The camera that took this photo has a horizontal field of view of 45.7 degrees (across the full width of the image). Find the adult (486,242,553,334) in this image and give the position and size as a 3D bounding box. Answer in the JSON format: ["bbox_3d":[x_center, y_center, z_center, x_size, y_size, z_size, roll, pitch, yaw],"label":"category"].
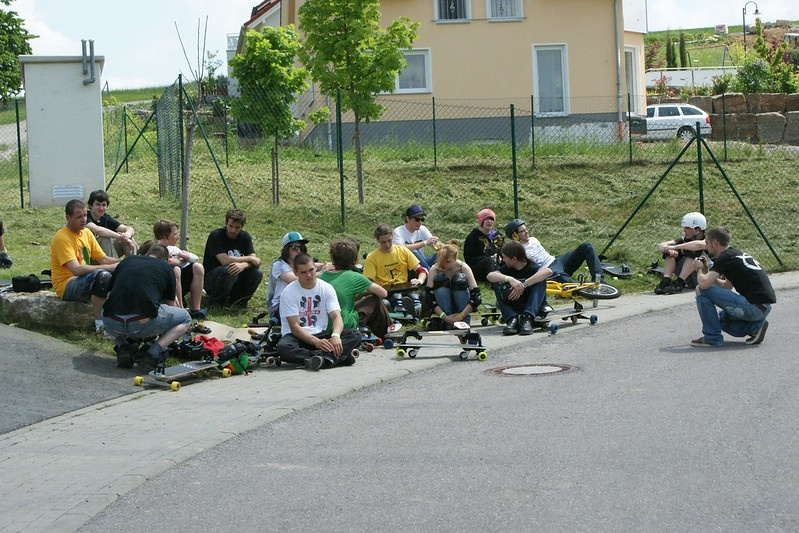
[{"bbox_3d":[1.853,0.323,14.628,0.935,1.385,0.720,-1,7,14],"label":"adult"}]

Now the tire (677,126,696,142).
[{"bbox_3d":[9.751,-4.547,32.259,0.482,0.436,0.798,-1,6,7],"label":"tire"}]

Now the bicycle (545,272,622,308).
[{"bbox_3d":[2.984,0.407,15.712,1.188,0.594,0.721,5,-5,-25],"label":"bicycle"}]

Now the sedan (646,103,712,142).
[{"bbox_3d":[9.540,-4.985,32.672,1.935,1.212,0.964,-1,7,13],"label":"sedan"}]

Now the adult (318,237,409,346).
[{"bbox_3d":[-0.628,0.328,14.020,1.215,1.604,0.960,-7,21,-16],"label":"adult"}]

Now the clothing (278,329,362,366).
[{"bbox_3d":[-1.062,1.140,12.894,1.145,0.474,0.342,-3,6,-9],"label":"clothing"}]

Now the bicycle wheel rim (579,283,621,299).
[{"bbox_3d":[3.333,0.430,15.749,0.394,0.185,0.398,-1,3,-2],"label":"bicycle wheel rim"}]

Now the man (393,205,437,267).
[{"bbox_3d":[0.293,-0.557,16.341,0.731,1.102,1.061,-8,14,-35],"label":"man"}]

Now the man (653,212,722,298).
[{"bbox_3d":[5.068,-0.193,16.830,1.464,1.549,0.920,-2,7,-33],"label":"man"}]

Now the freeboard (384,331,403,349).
[{"bbox_3d":[-0.086,1.082,13.897,0.323,0.188,0.162,-18,-6,19],"label":"freeboard"}]

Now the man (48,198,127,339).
[{"bbox_3d":[-4.305,0.008,13.785,1.443,1.819,1.270,0,10,-19],"label":"man"}]

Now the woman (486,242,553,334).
[{"bbox_3d":[1.874,0.315,14.819,0.898,1.399,1.011,-1,1,11],"label":"woman"}]

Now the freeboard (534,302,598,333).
[{"bbox_3d":[2.587,0.843,15.020,0.770,0.429,0.526,-12,12,-37],"label":"freeboard"}]

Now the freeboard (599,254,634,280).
[{"bbox_3d":[4.098,-0.009,17.956,0.386,0.383,1.044,-2,17,-14],"label":"freeboard"}]

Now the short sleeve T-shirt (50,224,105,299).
[{"bbox_3d":[-4.736,-0.088,13.848,0.535,1.013,1.003,6,8,13],"label":"short sleeve T-shirt"}]

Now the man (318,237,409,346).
[{"bbox_3d":[-0.657,0.311,14.018,1.268,1.643,0.980,-11,24,-26],"label":"man"}]

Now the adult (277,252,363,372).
[{"bbox_3d":[-1.102,0.609,12.850,1.097,1.520,1.436,-5,12,-27],"label":"adult"}]

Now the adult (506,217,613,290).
[{"bbox_3d":[2.632,-0.232,16.128,1.738,1.146,0.995,3,20,46],"label":"adult"}]

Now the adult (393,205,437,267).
[{"bbox_3d":[0.455,-0.529,16.269,0.731,1.102,1.061,-8,14,-35],"label":"adult"}]

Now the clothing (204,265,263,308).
[{"bbox_3d":[-2.619,0.352,15.061,0.663,0.568,0.773,-1,10,-43],"label":"clothing"}]

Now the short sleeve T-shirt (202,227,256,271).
[{"bbox_3d":[-2.677,-0.189,15.223,0.898,0.895,0.778,3,4,32],"label":"short sleeve T-shirt"}]

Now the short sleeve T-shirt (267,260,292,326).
[{"bbox_3d":[-1.686,0.397,14.200,0.533,0.914,0.721,3,-9,2],"label":"short sleeve T-shirt"}]

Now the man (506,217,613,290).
[{"bbox_3d":[2.657,-0.251,16.075,0.939,1.105,1.770,-27,21,-35],"label":"man"}]

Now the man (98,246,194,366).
[{"bbox_3d":[-3.470,0.516,12.933,1.234,1.795,1.017,4,-15,-4],"label":"man"}]

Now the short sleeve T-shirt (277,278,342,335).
[{"bbox_3d":[-1.306,0.524,13.239,1.076,0.914,0.657,-1,0,-18],"label":"short sleeve T-shirt"}]

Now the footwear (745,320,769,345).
[{"bbox_3d":[4.959,0.904,13.016,0.402,0.312,0.237,-6,7,-32],"label":"footwear"}]

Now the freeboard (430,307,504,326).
[{"bbox_3d":[1.194,0.812,15.290,1.508,0.268,0.394,-1,1,-36],"label":"freeboard"}]

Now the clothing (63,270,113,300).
[{"bbox_3d":[-4.441,0.281,13.540,0.503,0.243,0.560,-3,7,-10],"label":"clothing"}]

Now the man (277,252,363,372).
[{"bbox_3d":[-1.119,0.611,12.830,1.114,1.525,1.439,-4,11,-21],"label":"man"}]

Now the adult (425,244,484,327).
[{"bbox_3d":[0.823,0.325,14.626,0.768,1.344,0.913,-3,7,1],"label":"adult"}]

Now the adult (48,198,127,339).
[{"bbox_3d":[-4.304,-0.008,13.952,1.374,1.795,1.343,9,11,34],"label":"adult"}]

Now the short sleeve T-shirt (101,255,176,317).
[{"bbox_3d":[-3.457,0.305,12.774,0.850,0.891,0.517,8,-18,-4],"label":"short sleeve T-shirt"}]

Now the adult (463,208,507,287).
[{"bbox_3d":[1.603,-0.262,16.529,0.767,1.496,1.031,1,-1,-21],"label":"adult"}]

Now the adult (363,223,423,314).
[{"bbox_3d":[0.028,0.065,14.744,0.987,1.322,1.313,-11,15,-24],"label":"adult"}]

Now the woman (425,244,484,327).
[{"bbox_3d":[0.951,0.330,14.794,0.984,1.724,1.156,-1,0,5],"label":"woman"}]

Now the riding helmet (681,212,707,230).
[{"bbox_3d":[5.256,-0.808,16.956,0.406,0.336,0.319,14,4,28],"label":"riding helmet"}]

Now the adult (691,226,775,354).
[{"bbox_3d":[4.751,0.273,13.493,1.217,1.662,0.949,-1,2,16],"label":"adult"}]

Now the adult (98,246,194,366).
[{"bbox_3d":[-3.477,0.521,12.933,1.263,1.789,1.010,4,-14,-3],"label":"adult"}]

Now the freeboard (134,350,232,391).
[{"bbox_3d":[-2.776,1.379,12.373,0.475,0.240,0.907,6,9,43],"label":"freeboard"}]

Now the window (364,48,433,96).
[{"bbox_3d":[0.380,-6.285,30.567,1.550,1.455,0.108,-11,13,-38],"label":"window"}]

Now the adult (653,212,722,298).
[{"bbox_3d":[5.042,-0.172,16.832,1.464,1.549,0.920,-2,7,-33],"label":"adult"}]
